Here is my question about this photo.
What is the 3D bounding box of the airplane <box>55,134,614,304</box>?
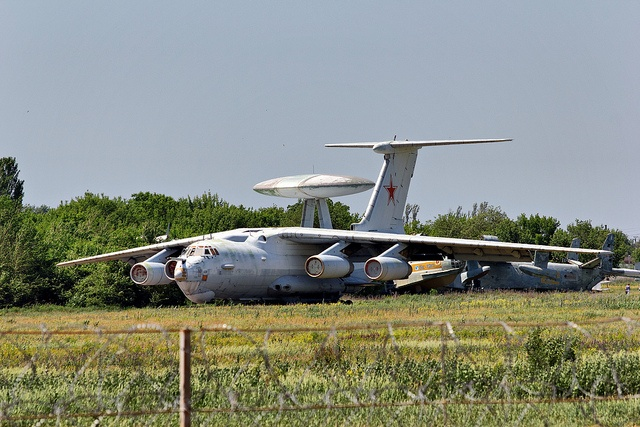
[{"bbox_3d":[-0.144,0.227,31.518,15.130,4.902,6.979,4,-2,-3],"label":"airplane"}]
